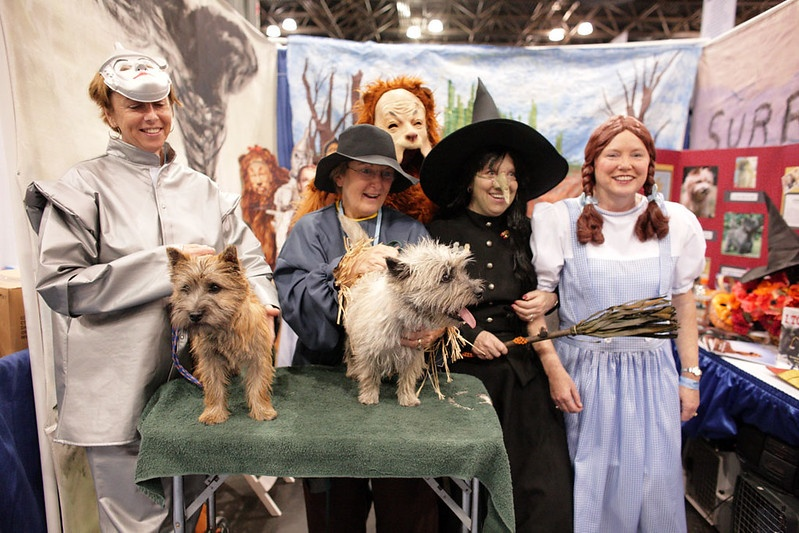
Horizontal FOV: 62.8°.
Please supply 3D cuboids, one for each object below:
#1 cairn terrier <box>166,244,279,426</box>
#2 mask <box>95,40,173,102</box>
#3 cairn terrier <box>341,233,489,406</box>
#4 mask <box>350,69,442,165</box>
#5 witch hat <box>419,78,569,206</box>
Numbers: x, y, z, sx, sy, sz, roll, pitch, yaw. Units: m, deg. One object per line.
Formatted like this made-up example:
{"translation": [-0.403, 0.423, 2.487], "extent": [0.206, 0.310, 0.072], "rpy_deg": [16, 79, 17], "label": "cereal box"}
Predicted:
{"translation": [-1.095, 0.403, 4.092], "extent": [0.650, 0.739, 1.149], "rpy_deg": [4, 9, -4], "label": "cairn terrier"}
{"translation": [-1.803, -1.346, 4.464], "extent": [0.375, 0.481, 0.185], "rpy_deg": [-25, -23, -33], "label": "mask"}
{"translation": [0.083, 0.276, 4.557], "extent": [0.855, 0.947, 1.105], "rpy_deg": [-2, 21, -1], "label": "cairn terrier"}
{"translation": [-0.018, -1.167, 5.541], "extent": [0.712, 0.881, 0.640], "rpy_deg": [-12, 12, -16], "label": "mask"}
{"translation": [0.738, -0.902, 5.300], "extent": [1.010, 0.742, 1.068], "rpy_deg": [-9, -27, 6], "label": "witch hat"}
